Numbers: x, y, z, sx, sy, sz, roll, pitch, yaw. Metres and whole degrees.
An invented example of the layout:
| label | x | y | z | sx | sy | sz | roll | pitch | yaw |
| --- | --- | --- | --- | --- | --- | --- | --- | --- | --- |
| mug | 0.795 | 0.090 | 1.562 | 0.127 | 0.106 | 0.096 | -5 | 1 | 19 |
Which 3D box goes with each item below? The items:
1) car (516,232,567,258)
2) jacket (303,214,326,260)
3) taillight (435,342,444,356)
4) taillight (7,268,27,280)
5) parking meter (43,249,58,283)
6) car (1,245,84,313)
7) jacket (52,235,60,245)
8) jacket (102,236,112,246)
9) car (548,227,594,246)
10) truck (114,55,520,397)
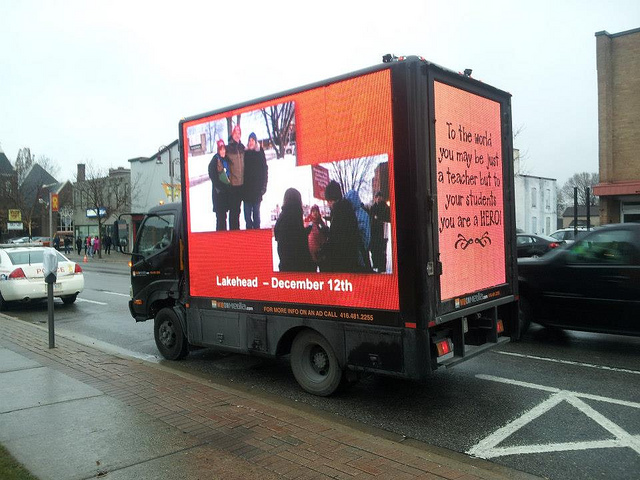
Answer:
| label | x | y | z | sx | sy | sz | roll | pitch | yaw |
| --- | --- | --- | --- | --- | --- | --- | --- | --- | --- |
| car | 7.379 | 0.167 | 19.165 | 1.693 | 0.695 | 0.817 | 2 | 4 | 37 |
| jacket | -0.093 | -0.076 | 7.799 | 0.186 | 0.721 | 0.209 | 0 | 16 | -2 |
| taillight | 1.532 | 1.387 | 7.311 | 0.043 | 0.165 | 0.139 | 5 | 9 | 39 |
| taillight | -8.031 | 0.895 | 15.182 | 0.344 | 0.295 | 0.251 | 4 | 2 | 7 |
| parking meter | -4.979 | 0.408 | 10.548 | 0.189 | 0.579 | 0.153 | 33 | 32 | 31 |
| car | -7.860 | 1.095 | 15.855 | 2.009 | 1.770 | 1.719 | -2 | 7 | -13 |
| jacket | -21.820 | -0.023 | 47.289 | 0.933 | 1.075 | 0.251 | -2 | 1 | 26 |
| jacket | -16.941 | 0.093 | 45.540 | 0.726 | 1.036 | 0.509 | -5 | 0 | -38 |
| car | 7.710 | -0.125 | 17.707 | 0.837 | 0.733 | 1.586 | -2 | 4 | -30 |
| truck | -0.272 | -0.021 | 10.049 | 6.587 | 4.582 | 3.277 | 0 | 2 | 40 |
